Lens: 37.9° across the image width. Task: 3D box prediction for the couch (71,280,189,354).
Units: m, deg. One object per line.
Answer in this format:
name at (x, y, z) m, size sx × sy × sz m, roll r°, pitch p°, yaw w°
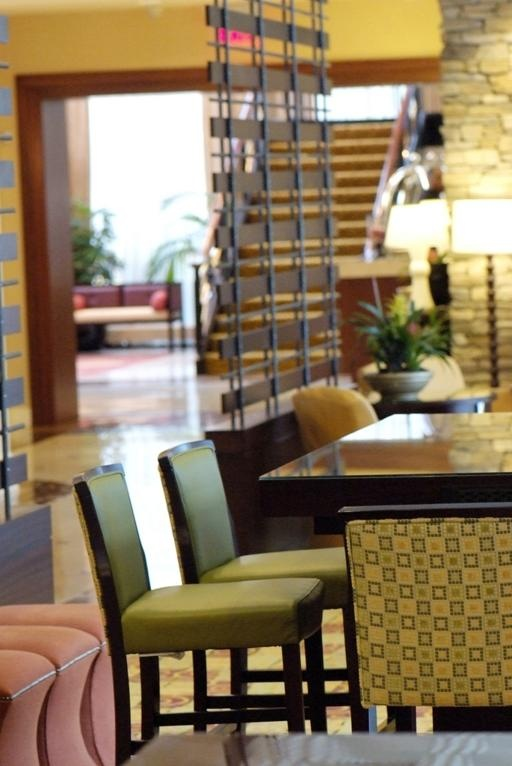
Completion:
couch at (-2.278, -1.138, 12.747) m, size 1.890 × 0.967 × 0.973 m, roll -2°, pitch 10°, yaw -6°
